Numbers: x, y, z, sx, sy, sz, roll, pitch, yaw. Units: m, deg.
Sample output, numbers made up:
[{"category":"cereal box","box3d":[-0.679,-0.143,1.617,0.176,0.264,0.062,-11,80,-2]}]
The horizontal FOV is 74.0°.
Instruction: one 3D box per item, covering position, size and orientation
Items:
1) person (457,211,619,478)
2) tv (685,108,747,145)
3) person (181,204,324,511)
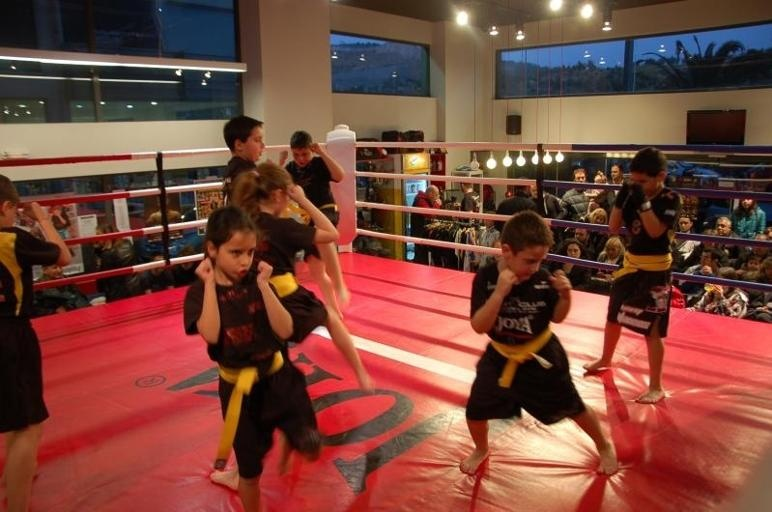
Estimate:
[{"category":"person","box3d":[0.780,0.465,2.651,0.750,1.377,0.256,1,14,4]},{"category":"tv","box3d":[6.477,-2.530,10.083,0.087,0.742,1.054,-31,29,-33]},{"category":"person","box3d":[-0.644,0.471,2.448,0.592,1.378,0.440,13,19,43]}]
